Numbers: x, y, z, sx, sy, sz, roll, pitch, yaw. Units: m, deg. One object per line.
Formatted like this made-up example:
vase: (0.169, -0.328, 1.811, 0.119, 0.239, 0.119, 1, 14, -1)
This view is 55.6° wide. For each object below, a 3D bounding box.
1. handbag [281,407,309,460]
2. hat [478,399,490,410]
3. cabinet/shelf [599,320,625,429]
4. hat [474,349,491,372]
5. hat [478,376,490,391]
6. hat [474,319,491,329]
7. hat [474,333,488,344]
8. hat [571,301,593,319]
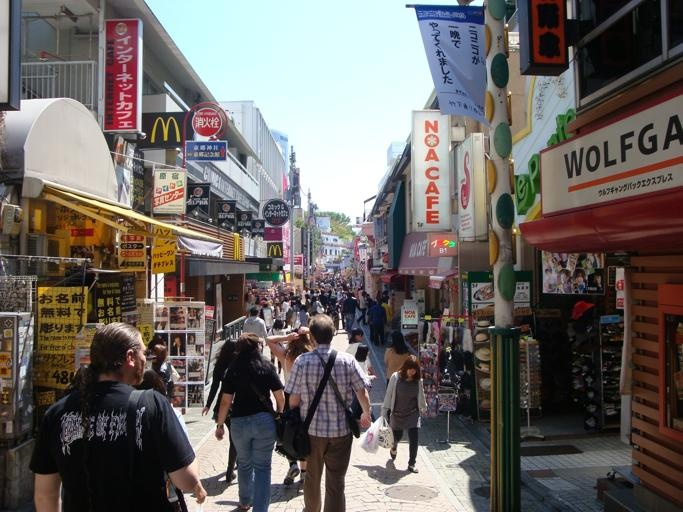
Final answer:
handbag: (-0.577, 2.005, 7.225, 0.442, 0.554, 0.272, -7, -20, 33)
hat: (2.722, 2.830, 12.322, 0.163, 0.112, 0.171, 5, -6, -21)
cabinet/shelf: (4.706, 2.040, 11.311, 0.404, 2.022, 0.840, -2, -6, 20)
hat: (2.678, 1.985, 12.266, 0.267, 0.457, 0.327, -1, -5, 6)
hat: (2.703, 2.431, 12.323, 0.212, 0.251, 0.053, 0, -5, -4)
hat: (2.831, 1.349, 12.773, 0.367, 0.159, 0.204, 2, -6, -22)
hat: (2.718, 1.580, 12.516, 0.253, 0.177, 0.193, -2, -6, 12)
hat: (4.763, 1.071, 12.778, 0.624, 0.368, 0.395, 4, -7, -38)
